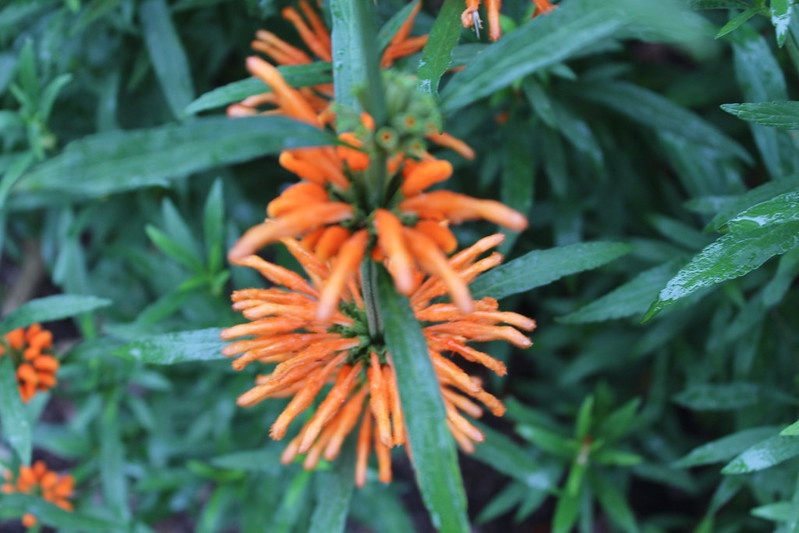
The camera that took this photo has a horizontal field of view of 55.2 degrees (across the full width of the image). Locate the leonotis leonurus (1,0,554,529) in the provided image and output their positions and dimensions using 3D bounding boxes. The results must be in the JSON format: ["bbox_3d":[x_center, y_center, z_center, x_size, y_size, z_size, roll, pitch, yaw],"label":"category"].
[{"bbox_3d":[-0.102,-0.006,1.925,0.704,1.337,0.783,-15,11,-35],"label":"leonotis leonurus"}]
